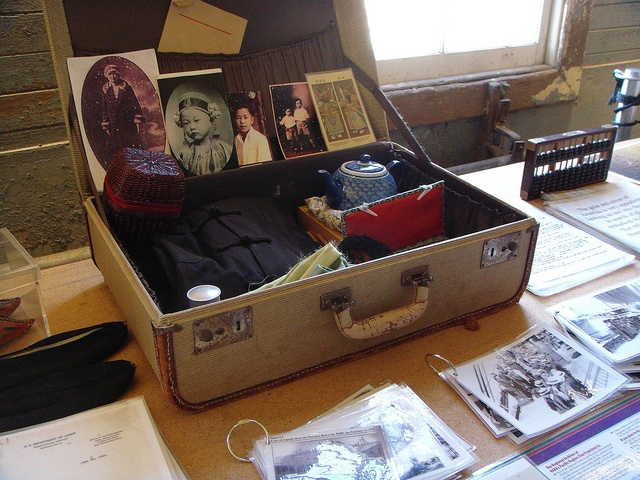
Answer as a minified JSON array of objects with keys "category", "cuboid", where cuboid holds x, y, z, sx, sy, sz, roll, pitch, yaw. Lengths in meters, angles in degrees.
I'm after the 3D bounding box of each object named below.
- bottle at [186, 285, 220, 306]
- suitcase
[{"category":"bottle","cuboid":[-0.235,0.101,0.968,0.046,0.040,0.045,-11,33,-21]},{"category":"suitcase","cuboid":[-0.142,-0.029,1.404,1.036,0.770,1.031,-17,39,-24]}]
